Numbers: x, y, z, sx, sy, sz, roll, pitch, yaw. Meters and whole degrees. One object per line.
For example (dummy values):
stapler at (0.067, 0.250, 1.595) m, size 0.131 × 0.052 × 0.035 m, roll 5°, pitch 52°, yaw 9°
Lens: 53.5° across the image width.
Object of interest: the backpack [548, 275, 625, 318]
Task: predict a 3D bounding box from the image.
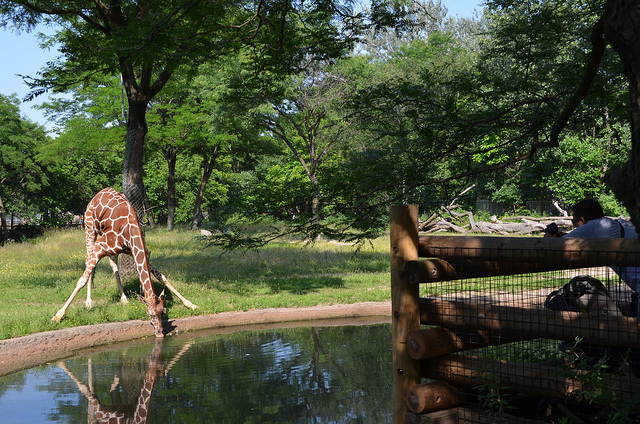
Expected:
backpack at (4.106, 1.366, 9.931) m, size 0.568 × 0.346 × 0.902 m, roll -1°, pitch 5°, yaw -18°

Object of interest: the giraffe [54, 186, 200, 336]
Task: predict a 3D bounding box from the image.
giraffe at (-5.109, 1.164, 17.196) m, size 3.173 × 2.465 × 4.031 m, roll -5°, pitch 12°, yaw -30°

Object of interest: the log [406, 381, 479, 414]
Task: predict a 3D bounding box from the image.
log at (1.923, 2.933, 10.117) m, size 1.007 × 0.506 × 0.383 m, roll -2°, pitch -3°, yaw -25°

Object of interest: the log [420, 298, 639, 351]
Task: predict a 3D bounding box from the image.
log at (3.188, 1.726, 9.849) m, size 3.176 × 0.514 × 0.337 m, roll 2°, pitch 11°, yaw 17°

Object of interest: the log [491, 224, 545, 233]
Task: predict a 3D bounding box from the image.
log at (9.433, 0.832, 30.759) m, size 0.666 × 0.434 × 3.144 m, roll -7°, pitch 4°, yaw -41°
